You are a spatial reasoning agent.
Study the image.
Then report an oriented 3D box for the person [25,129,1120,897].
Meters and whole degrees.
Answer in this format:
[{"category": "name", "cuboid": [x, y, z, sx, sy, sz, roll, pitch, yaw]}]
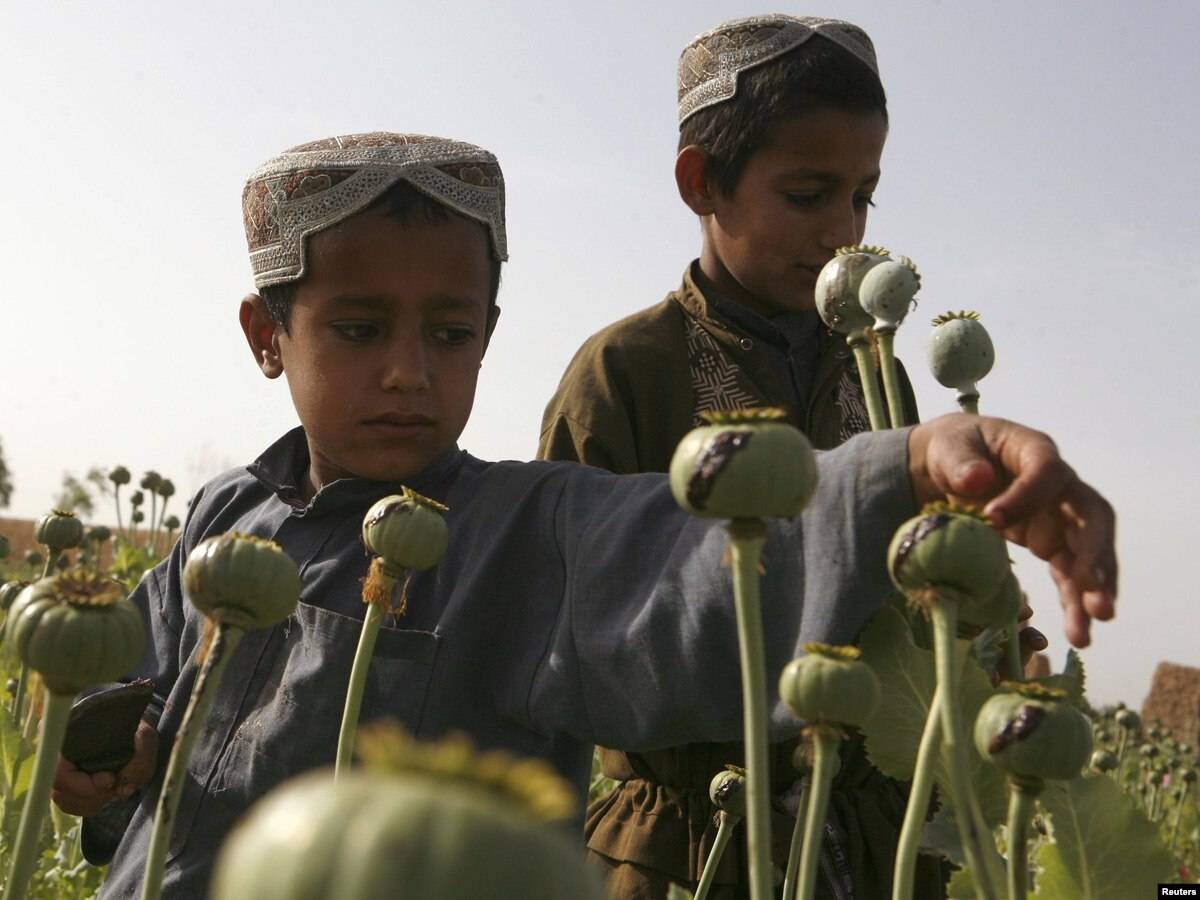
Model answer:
[{"category": "person", "cuboid": [0.031, 0.002, 2.952, 1.995, 1.187, 0.879, 0, 2, 36]}]
